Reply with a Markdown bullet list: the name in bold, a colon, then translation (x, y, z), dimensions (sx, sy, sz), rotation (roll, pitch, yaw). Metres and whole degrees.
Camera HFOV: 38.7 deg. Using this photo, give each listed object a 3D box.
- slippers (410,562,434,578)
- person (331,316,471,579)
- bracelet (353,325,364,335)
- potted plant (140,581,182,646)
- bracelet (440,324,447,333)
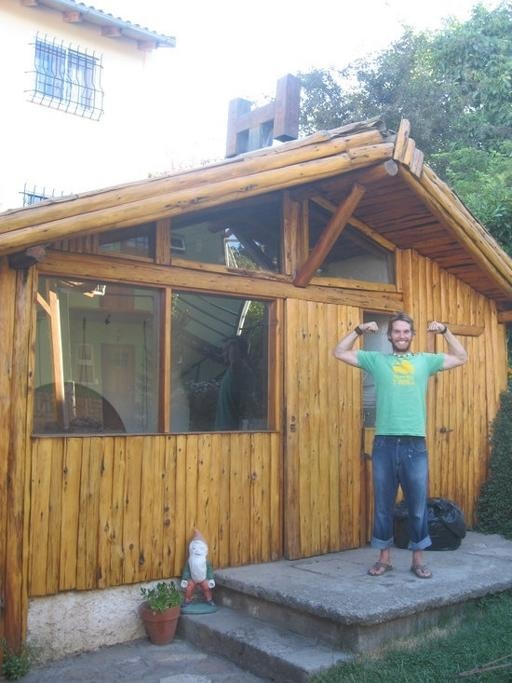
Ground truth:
- **slippers**: translation (1.132, 1.592, 5.028), dimensions (0.131, 0.078, 0.234), rotation (-5, 4, 1)
- **person**: translation (1.017, 0.743, 5.059), dimensions (0.853, 1.778, 0.410), rotation (-4, 4, 5)
- **bracelet**: translation (0.727, -0.080, 5.177), dimensions (0.052, 0.033, 0.074), rotation (3, -15, -1)
- **potted plant**: translation (-0.640, 1.847, 4.910), dimensions (0.281, 0.369, 0.273), rotation (-11, -18, 44)
- **bracelet**: translation (1.286, -0.091, 5.024), dimensions (0.059, 0.077, 0.082), rotation (-3, -6, 9)
